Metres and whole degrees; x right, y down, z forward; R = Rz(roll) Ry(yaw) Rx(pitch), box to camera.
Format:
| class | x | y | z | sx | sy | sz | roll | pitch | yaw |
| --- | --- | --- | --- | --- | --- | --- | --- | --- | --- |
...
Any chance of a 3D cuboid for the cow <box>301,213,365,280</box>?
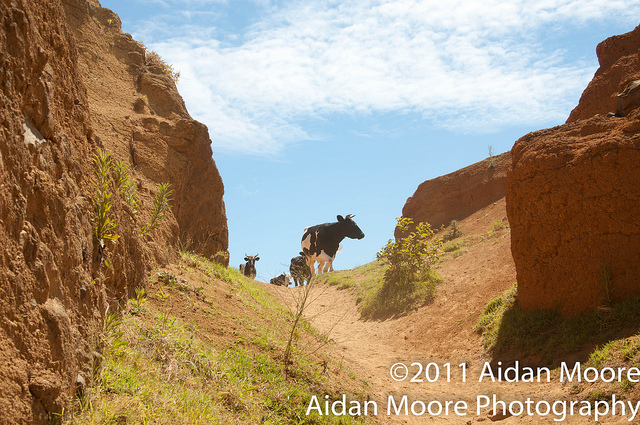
| class | x | y | z | sx | sy | sz | roll | pitch | yaw |
| --- | --- | --- | --- | --- | --- | --- | --- | --- | --- |
| cow | 0.230 | 1.643 | 37.471 | 1.417 | 2.745 | 4.551 | 8 | -16 | -36 |
